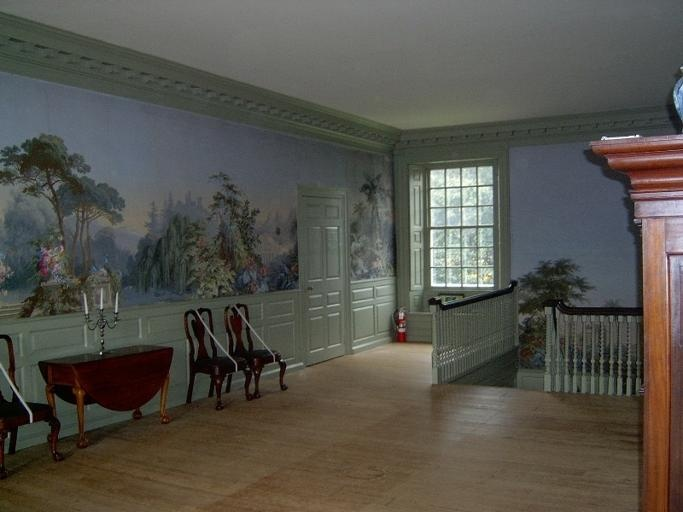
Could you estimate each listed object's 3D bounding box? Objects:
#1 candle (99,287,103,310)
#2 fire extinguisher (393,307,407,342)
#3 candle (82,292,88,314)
[{"bbox_3d":[-2.600,0.464,5.100,0.045,0.252,0.399,-2,0,-27],"label":"candle"},{"bbox_3d":[1.239,1.464,10.146,0.277,0.607,0.169,-1,0,12],"label":"fire extinguisher"},{"bbox_3d":[-2.715,0.502,4.997,0.061,0.259,0.326,-2,0,-29],"label":"candle"}]
